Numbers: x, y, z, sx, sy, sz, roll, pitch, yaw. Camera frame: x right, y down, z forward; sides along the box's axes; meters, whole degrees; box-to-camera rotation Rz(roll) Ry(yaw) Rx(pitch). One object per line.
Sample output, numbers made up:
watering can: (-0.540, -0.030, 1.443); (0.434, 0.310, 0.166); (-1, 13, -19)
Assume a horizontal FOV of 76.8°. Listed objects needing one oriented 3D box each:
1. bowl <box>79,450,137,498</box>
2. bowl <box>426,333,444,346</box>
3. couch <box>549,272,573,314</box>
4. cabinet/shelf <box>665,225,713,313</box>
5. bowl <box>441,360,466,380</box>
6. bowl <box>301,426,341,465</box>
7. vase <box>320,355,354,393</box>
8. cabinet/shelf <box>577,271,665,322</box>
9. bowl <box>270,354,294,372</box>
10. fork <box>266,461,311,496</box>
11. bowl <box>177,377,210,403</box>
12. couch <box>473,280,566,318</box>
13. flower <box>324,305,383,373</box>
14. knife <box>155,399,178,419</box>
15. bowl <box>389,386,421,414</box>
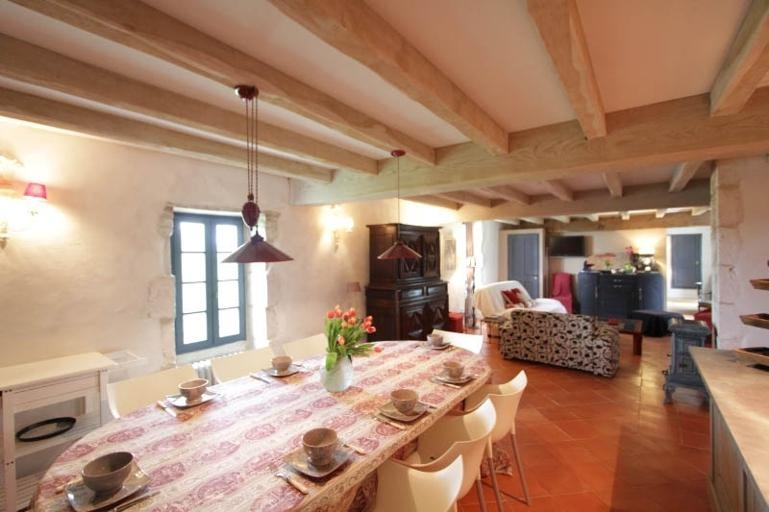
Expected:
bowl: (-1.760, 1.419, 3.066); (0.285, 0.132, 0.285); (-7, -7, -1)
bowl: (0.529, 0.856, 4.978); (0.123, 0.081, 0.124); (-1, 0, 0)
couch: (4.044, 0.958, 11.141); (0.568, 1.008, 0.624); (0, 12, 38)
cabinet/shelf: (6.328, 0.275, 10.143); (0.578, 2.008, 0.957); (-4, -2, -38)
bowl: (0.595, 0.977, 4.165); (0.131, 0.087, 0.130); (-3, -1, 0)
bowl: (-0.426, 1.278, 3.236); (0.231, 0.143, 0.229); (-1, 10, 0)
vase: (-0.402, 0.969, 4.036); (0.303, 0.281, 0.300); (-5, -3, 10)
cabinet/shelf: (4.923, 0.768, 10.303); (1.652, 1.512, 0.556); (-1, 40, 23)
bowl: (-0.916, 0.938, 4.276); (0.141, 0.082, 0.139); (-3, -1, 0)
fork: (-0.603, 1.425, 3.121); (0.101, 0.034, 0.306); (-19, 21, -39)
bowl: (-1.510, 1.043, 3.807); (0.179, 0.110, 0.172); (-1, 0, 0)
couch: (2.172, 0.809, 8.706); (0.892, 0.507, 1.232); (-10, -9, 44)
flower: (-0.342, 0.700, 4.264); (0.589, 0.589, 0.523); (2, -6, -7)
knife: (-1.673, 1.135, 3.732); (0.312, 0.066, 0.082); (19, 16, 40)
bowl: (0.149, 1.081, 3.670); (0.166, 0.107, 0.168); (-2, -6, 0)
